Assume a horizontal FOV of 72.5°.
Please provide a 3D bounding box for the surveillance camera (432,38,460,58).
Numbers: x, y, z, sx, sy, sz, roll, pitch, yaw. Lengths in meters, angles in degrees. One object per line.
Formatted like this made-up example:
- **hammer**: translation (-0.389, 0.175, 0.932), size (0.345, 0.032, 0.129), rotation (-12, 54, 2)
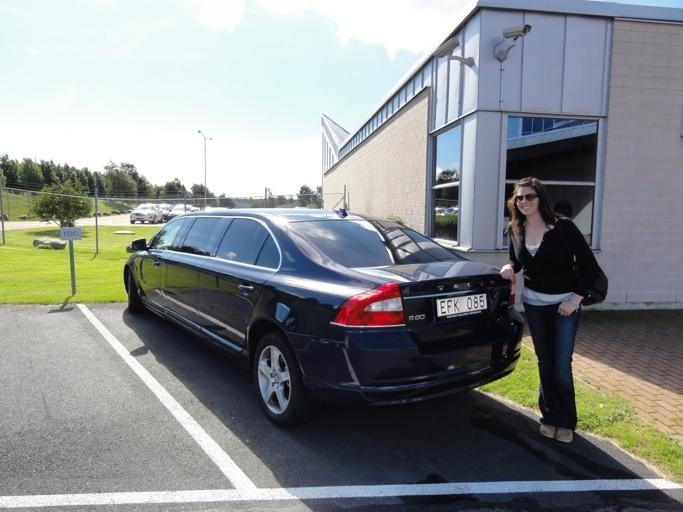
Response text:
- **surveillance camera**: translation (1.834, -3.602, 8.103), size (0.297, 0.142, 0.497), rotation (-21, 11, -13)

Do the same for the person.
- **person**: translation (1.830, 0.468, 4.175), size (0.283, 2.279, 0.775), rotation (-9, 15, -39)

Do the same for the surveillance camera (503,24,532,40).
- **surveillance camera**: translation (2.832, -3.621, 7.552), size (0.381, 0.184, 0.663), rotation (5, 13, 18)
